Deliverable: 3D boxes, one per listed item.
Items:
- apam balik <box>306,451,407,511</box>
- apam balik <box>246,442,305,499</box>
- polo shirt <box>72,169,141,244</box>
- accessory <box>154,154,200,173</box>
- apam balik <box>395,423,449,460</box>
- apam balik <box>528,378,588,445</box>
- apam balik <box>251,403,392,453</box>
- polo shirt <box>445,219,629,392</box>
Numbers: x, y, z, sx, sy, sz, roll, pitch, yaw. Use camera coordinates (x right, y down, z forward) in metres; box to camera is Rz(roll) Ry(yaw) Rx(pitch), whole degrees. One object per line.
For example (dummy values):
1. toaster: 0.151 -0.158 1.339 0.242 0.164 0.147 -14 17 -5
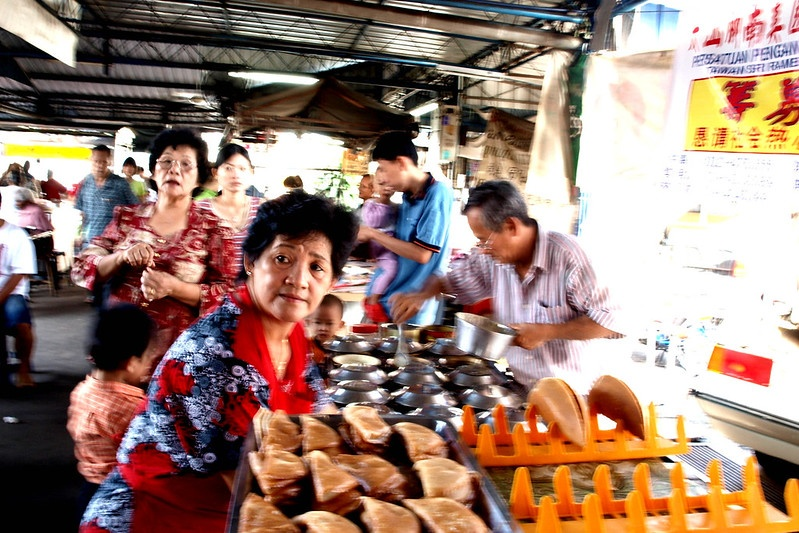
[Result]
1. apam balik: -0.126 0.640 1.696 0.226 0.056 0.202 2 14 -31
2. apam balik: -0.373 0.634 1.699 0.149 0.110 0.135 0 8 -31
3. polo shirt: -3.713 -0.760 6.976 1.280 0.787 0.371 6 16 3
4. accessory: -1.333 -0.618 3.275 0.157 0.038 0.136 3 -9 -6
5. apam balik: 0.080 0.596 1.920 0.167 0.071 0.254 6 7 -15
6. apam balik: 0.645 0.561 2.206 0.216 0.257 0.105 -33 -18 14
7. apam balik: -0.267 0.547 1.837 0.299 0.073 0.204 3 3 -12
8. polo shirt: 0.850 0.315 3.351 0.458 0.910 1.489 -11 2 -45
